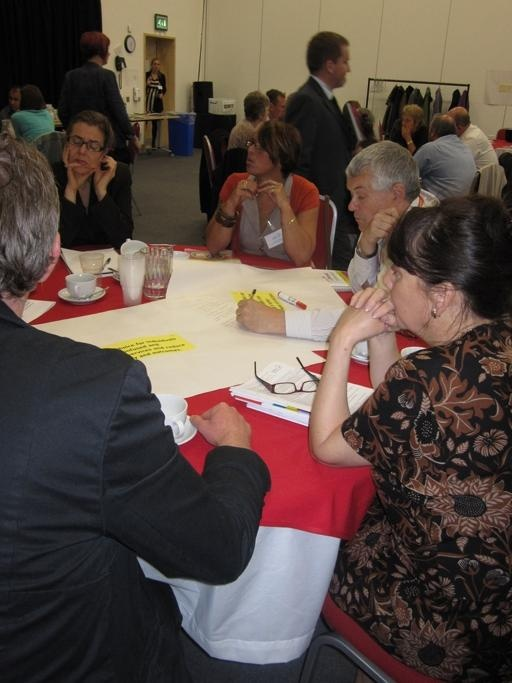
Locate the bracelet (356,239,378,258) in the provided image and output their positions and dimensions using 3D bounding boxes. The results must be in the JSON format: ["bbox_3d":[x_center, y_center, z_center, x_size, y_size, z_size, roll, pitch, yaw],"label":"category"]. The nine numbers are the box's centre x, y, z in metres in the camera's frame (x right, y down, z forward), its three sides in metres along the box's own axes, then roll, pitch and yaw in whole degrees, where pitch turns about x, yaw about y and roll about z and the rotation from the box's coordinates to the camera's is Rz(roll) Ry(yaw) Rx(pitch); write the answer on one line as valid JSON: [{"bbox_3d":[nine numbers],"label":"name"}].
[{"bbox_3d":[0.415,-0.348,1.995,0.075,0.062,0.057,10,7,7],"label":"bracelet"}]

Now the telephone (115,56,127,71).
[{"bbox_3d":[-2.392,-4.894,9.363,0.125,0.231,0.239,12,21,18],"label":"telephone"}]

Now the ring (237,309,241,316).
[{"bbox_3d":[-0.048,-0.079,1.482,0.004,0.016,0.017,-2,46,-13],"label":"ring"}]

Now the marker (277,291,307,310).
[{"bbox_3d":[0.103,-0.145,1.703,0.032,0.032,0.171,13,12,-37],"label":"marker"}]

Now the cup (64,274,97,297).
[{"bbox_3d":[-0.525,-0.169,1.587,0.072,0.052,0.077,2,12,0],"label":"cup"}]

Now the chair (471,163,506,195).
[{"bbox_3d":[2.230,-1.511,4.968,0.230,0.261,0.447,9,21,12],"label":"chair"}]

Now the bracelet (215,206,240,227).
[{"bbox_3d":[-0.138,-0.562,2.406,0.095,0.059,0.092,-5,50,-27],"label":"bracelet"}]

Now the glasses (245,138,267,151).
[{"bbox_3d":[0.000,-0.897,2.419,0.080,0.023,0.077,-12,14,-4],"label":"glasses"}]

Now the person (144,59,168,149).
[{"bbox_3d":[-1.976,-4.619,10.444,0.379,1.584,0.898,1,21,-10],"label":"person"}]

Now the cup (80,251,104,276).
[{"bbox_3d":[-0.561,-0.269,1.863,0.079,0.064,0.090,8,11,35],"label":"cup"}]

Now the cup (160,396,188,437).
[{"bbox_3d":[-0.148,0.128,0.965,0.061,0.060,0.092,-3,34,-10],"label":"cup"}]
